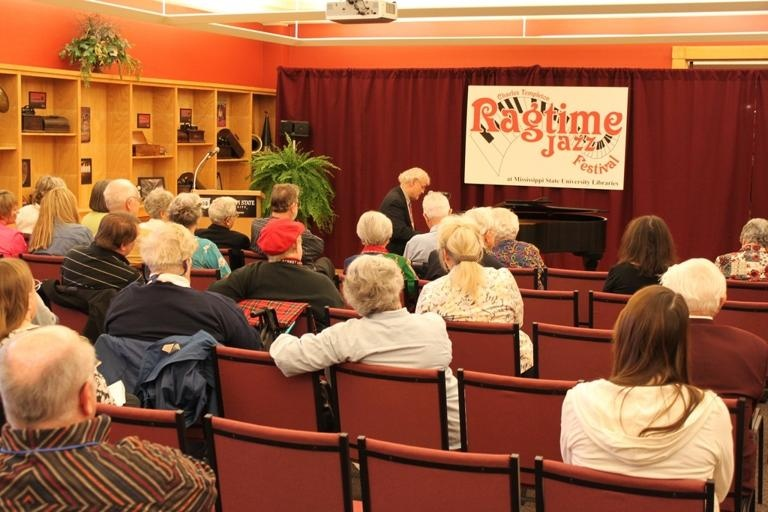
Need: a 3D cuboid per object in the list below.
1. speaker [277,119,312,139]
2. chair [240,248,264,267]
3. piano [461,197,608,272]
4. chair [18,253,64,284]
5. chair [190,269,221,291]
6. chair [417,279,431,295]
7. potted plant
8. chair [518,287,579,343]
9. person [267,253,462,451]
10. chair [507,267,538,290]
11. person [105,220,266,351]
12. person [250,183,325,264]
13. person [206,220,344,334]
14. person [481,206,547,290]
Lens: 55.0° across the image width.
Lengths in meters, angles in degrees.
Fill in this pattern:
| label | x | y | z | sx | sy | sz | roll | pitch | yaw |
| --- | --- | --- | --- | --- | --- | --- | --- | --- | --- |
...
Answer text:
| label | x | y | z | sx | sy | sz | roll | pitch | yaw |
| --- | --- | --- | --- | --- | --- | --- | --- | --- | --- |
| speaker | -1.350 | -1.897 | 11.061 | 0.474 | 0.290 | 0.319 | 0 | 7 | -8 |
| chair | -1.105 | 0.012 | 6.145 | 0.112 | 0.220 | 0.133 | 11 | 15 | 38 |
| piano | 1.929 | -0.288 | 8.446 | 1.235 | 0.844 | 0.932 | 0 | 2 | -16 |
| chair | -2.381 | 0.091 | 5.120 | 0.138 | 0.210 | 0.170 | 6 | 17 | 8 |
| chair | -1.295 | 0.173 | 5.329 | 0.114 | 0.211 | 0.124 | 7 | 16 | 22 |
| chair | 0.273 | 0.210 | 5.165 | 0.098 | 0.131 | 0.108 | 5 | 8 | 29 |
| potted plant | -3.284 | -2.357 | 8.426 | 0.816 | 0.787 | 0.396 | -2 | 7 | -27 |
| chair | 1.151 | 0.348 | 5.156 | 0.331 | 0.614 | 0.376 | 4 | 11 | 30 |
| person | -0.111 | 0.722 | 4.051 | 0.935 | 1.450 | 0.676 | -1 | 8 | 1 |
| chair | 1.128 | 0.167 | 5.901 | 0.190 | 0.264 | 0.191 | 7 | 12 | 40 |
| person | -1.186 | 0.239 | 4.287 | 0.973 | 0.920 | 0.527 | 4 | 5 | 0 |
| person | -0.887 | -0.263 | 6.658 | 0.696 | 0.734 | 0.407 | 12 | 17 | 31 |
| person | -0.735 | 0.256 | 5.004 | 0.851 | 0.897 | 0.474 | 1 | -11 | 2 |
| person | 1.063 | -0.055 | 6.057 | 0.536 | 0.884 | 0.510 | 6 | 46 | 20 |
